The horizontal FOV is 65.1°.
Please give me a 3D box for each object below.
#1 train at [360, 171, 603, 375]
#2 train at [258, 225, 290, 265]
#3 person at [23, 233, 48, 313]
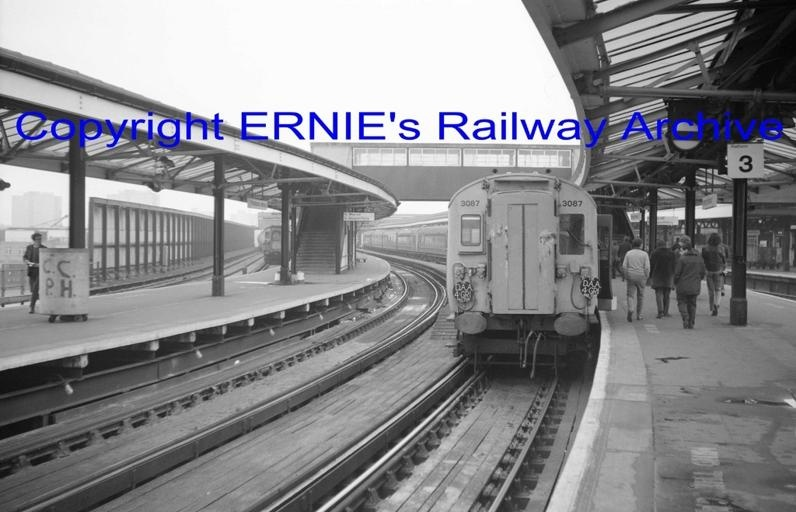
[{"bbox_3d":[2.608,0.507,13.258,3.066,4.463,1.011,2,11,6],"label":"train"},{"bbox_3d":[-8.112,-0.674,40.433,1.251,1.622,3.214,-2,5,-6],"label":"train"},{"bbox_3d":[-8.823,0.445,15.201,0.427,2.099,1.494,-9,15,-38],"label":"person"}]
